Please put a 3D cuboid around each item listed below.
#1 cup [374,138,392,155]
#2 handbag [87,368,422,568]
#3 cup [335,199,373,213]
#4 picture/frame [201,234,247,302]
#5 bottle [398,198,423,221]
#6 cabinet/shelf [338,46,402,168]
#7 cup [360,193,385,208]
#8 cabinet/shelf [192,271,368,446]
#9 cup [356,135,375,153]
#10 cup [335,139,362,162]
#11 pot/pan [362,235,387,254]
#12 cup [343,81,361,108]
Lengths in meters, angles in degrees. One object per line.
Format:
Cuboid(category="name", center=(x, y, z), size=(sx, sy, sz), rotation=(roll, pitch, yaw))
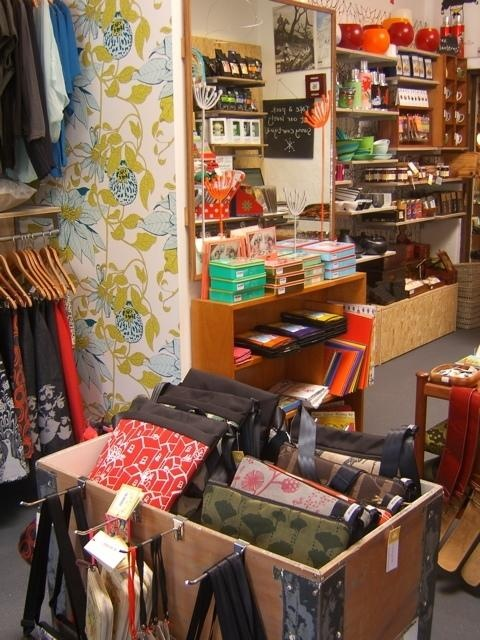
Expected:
Cuboid(category="cup", center=(1.609, -1.952, 4.985), size=(0.186, 0.160, 0.218), rotation=(21, 45, 39))
Cuboid(category="handbag", center=(-0.048, 0.365, 1.085), size=(0.558, 0.196, 0.442), rotation=(17, 26, 27))
Cuboid(category="cup", center=(1.263, -1.235, 4.709), size=(0.484, 0.124, 0.231), rotation=(-7, 16, -17))
Cuboid(category="picture/frame", center=(-0.093, -0.252, 2.178), size=(0.039, 0.264, 0.275), rotation=(8, 16, 34))
Cuboid(category="bottle", center=(2.096, -1.366, 5.409), size=(0.085, 0.229, 0.300), rotation=(6, 12, 41))
Cuboid(category="cabinet/shelf", center=(1.413, -2.386, 4.806), size=(0.379, 1.166, 1.233), rotation=(6, 17, 29))
Cuboid(category="cup", center=(1.509, -1.382, 4.989), size=(0.219, 0.256, 0.143), rotation=(-2, 7, -28))
Cuboid(category="cabinet/shelf", center=(0.205, 0.154, 2.213), size=(0.208, 0.854, 0.822), rotation=(6, 11, 38))
Cuboid(category="cup", center=(1.361, -1.900, 4.754), size=(0.164, 0.149, 0.165), rotation=(-1, 11, 0))
Cuboid(category="cup", center=(1.123, -1.769, 4.624), size=(0.212, 0.179, 0.233), rotation=(-4, 15, 1))
Cuboid(category="pot/pan", center=(1.497, -0.842, 4.910), size=(0.198, 0.181, 0.211), rotation=(-1, 10, 30))
Cuboid(category="cup", center=(1.149, -2.303, 4.461), size=(0.161, 0.250, 0.106), rotation=(2, 14, 13))
